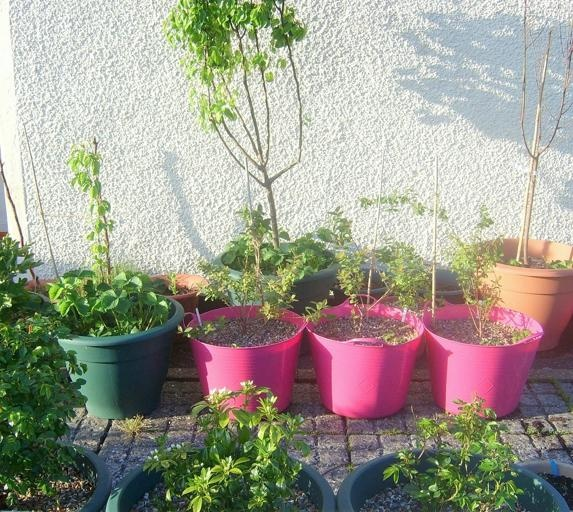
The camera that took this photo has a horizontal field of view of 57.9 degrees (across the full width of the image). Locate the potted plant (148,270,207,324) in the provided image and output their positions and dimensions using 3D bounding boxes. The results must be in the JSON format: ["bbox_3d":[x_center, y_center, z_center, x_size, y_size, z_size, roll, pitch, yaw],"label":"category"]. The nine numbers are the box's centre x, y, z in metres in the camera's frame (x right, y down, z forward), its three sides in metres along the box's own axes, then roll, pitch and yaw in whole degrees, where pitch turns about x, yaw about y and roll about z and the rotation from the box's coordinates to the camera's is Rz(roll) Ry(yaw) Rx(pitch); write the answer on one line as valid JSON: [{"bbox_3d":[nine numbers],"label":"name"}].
[{"bbox_3d":[-0.714,0.248,3.458,0.331,0.247,0.331,0,8,1],"label":"potted plant"}]
